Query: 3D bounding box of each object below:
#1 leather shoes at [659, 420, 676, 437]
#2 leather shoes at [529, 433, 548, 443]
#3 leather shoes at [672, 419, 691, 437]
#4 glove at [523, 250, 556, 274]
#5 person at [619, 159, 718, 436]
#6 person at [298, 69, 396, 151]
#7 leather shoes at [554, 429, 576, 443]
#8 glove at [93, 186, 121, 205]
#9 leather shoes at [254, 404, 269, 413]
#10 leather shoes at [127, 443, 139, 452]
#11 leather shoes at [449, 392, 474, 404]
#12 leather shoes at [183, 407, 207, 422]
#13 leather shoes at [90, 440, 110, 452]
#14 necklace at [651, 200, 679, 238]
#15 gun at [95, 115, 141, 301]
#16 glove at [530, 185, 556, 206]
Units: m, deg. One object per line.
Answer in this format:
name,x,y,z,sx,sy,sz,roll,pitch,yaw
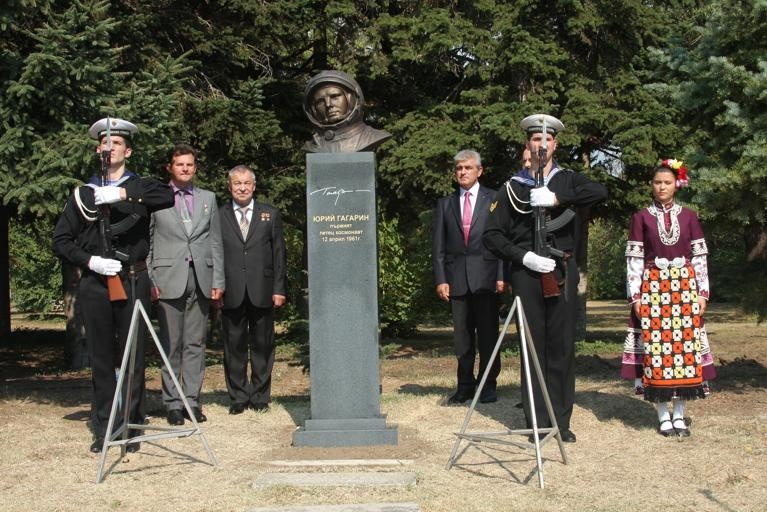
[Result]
leather shoes,4.014,2.442,16.141,0.180,0.157,0.438,-2,-10,7
leather shoes,2.162,2.505,15.857,0.193,0.085,0.251,0,-7,-40
leather shoes,4.212,2.410,16.118,0.255,0.222,0.191,2,16,10
glove,2.151,0.101,15.799,0.466,0.310,0.185,1,16,6
person,4.096,0.585,16.205,1.141,3.722,1.314,-3,16,-7
person,-0.606,-2.038,16.553,1.524,1.247,1.023,-7,-4,26
leather shoes,2.584,2.529,16.006,0.168,0.118,0.305,0,-6,-9
glove,-3.752,-0.810,15.500,0.372,0.263,0.193,-1,15,-2
leather shoes,-1.845,2.276,17.193,0.238,0.088,0.245,-2,15,-6
leather shoes,-3.463,2.637,15.798,0.148,0.103,0.107,-15,10,-10
leather shoes,1.192,2.180,17.510,0.360,0.130,0.154,4,-4,-16
leather shoes,-2.729,2.328,16.851,0.491,0.190,0.172,1,9,26
leather shoes,-3.906,2.606,15.667,0.299,0.186,0.175,-1,-3,37
necklace,4.017,-0.520,16.243,0.359,0.437,0.142,-2,1,17
gun,-3.683,-0.673,15.775,0.638,2.489,1.005,-3,16,-7
glove,2.198,-0.799,15.699,0.360,0.299,0.181,1,16,6
